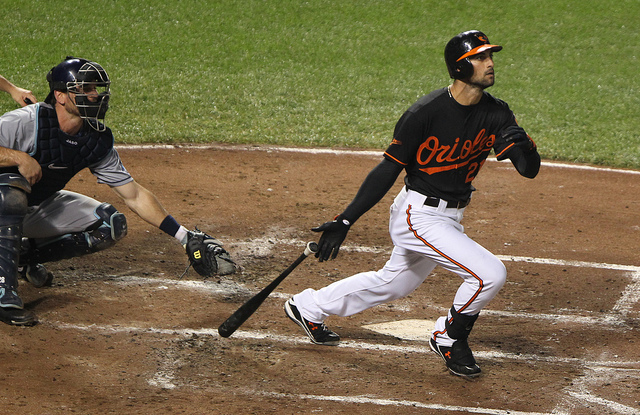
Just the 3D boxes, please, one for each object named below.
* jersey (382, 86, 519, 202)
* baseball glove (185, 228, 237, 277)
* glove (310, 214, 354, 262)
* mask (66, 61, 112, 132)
[{"bbox_3d":[1.187,-0.597,8.644,0.910,0.995,0.785,16,33,14],"label":"jersey"},{"bbox_3d":[-1.037,0.464,9.066,0.424,0.270,0.512,-20,45,-10],"label":"baseball glove"},{"bbox_3d":[0.088,0.312,8.621,0.324,0.569,0.366,13,34,6],"label":"glove"},{"bbox_3d":[-2.281,-1.063,8.987,0.404,0.683,0.423,0,34,-12],"label":"mask"}]
